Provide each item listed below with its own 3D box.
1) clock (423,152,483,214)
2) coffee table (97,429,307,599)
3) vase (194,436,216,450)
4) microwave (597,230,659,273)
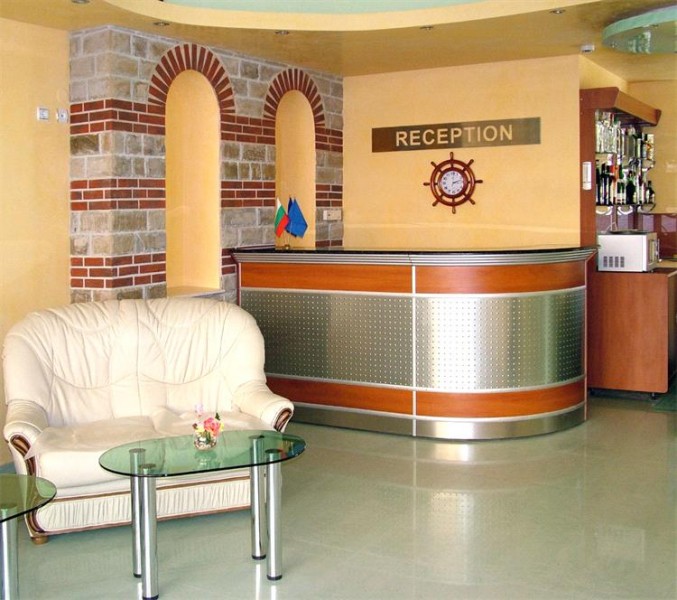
[{"bbox_3d":[1.345,-1.365,6.763,0.692,0.760,0.043,2,7,31],"label":"clock"},{"bbox_3d":[-0.586,0.933,2.546,0.849,0.654,0.661,-2,3,-25],"label":"coffee table"},{"bbox_3d":[-0.611,0.635,2.601,0.060,0.035,0.059,0,3,2],"label":"vase"},{"bbox_3d":[2.937,-0.496,6.008,0.387,0.323,0.606,1,7,19],"label":"microwave"}]
